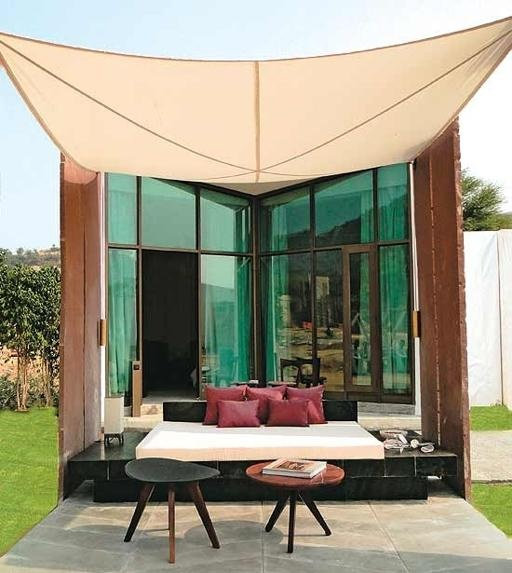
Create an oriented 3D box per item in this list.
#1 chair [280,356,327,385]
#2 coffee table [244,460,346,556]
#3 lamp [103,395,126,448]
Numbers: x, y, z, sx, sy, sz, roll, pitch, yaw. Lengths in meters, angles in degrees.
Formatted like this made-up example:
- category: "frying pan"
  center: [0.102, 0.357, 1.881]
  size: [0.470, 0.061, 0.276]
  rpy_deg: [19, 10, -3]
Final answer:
- category: "chair"
  center: [0.705, 1.267, 9.205]
  size: [0.546, 0.552, 0.436]
  rpy_deg: [-6, -14, 29]
- category: "coffee table"
  center: [0.274, 1.488, 4.313]
  size: [0.579, 0.555, 0.584]
  rpy_deg: [6, -2, -24]
- category: "lamp"
  center: [-1.336, 1.254, 5.735]
  size: [0.174, 0.405, 0.350]
  rpy_deg: [-1, 4, -15]
